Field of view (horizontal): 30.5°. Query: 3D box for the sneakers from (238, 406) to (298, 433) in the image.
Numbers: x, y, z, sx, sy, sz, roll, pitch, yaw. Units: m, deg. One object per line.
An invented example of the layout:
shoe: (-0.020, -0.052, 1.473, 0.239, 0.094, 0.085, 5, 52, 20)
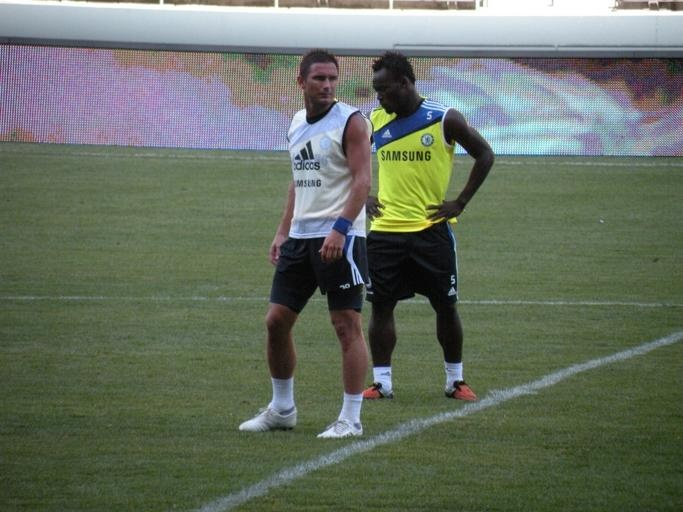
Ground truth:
sneakers: (-0.717, 1.654, 12.593, 0.687, 0.251, 0.218, 1, 0, -5)

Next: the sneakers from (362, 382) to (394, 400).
sneakers: (0.383, 1.438, 13.318, 0.307, 0.127, 0.153, 3, -1, 3)

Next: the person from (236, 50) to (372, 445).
person: (-0.226, -0.135, 12.545, 1.055, 3.715, 1.171, 3, 14, 3)

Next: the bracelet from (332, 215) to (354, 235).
bracelet: (0.007, -0.301, 12.490, 0.186, 0.139, 0.179, 20, 9, -23)

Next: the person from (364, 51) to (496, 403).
person: (0.894, -0.359, 13.445, 1.372, 3.508, 1.195, 3, 14, 5)

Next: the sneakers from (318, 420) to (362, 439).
sneakers: (-0.009, 1.714, 12.485, 0.375, 0.139, 0.196, 1, -3, -13)

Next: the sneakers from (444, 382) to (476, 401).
sneakers: (1.250, 1.425, 13.236, 0.168, 0.121, 0.296, -5, 4, -42)
